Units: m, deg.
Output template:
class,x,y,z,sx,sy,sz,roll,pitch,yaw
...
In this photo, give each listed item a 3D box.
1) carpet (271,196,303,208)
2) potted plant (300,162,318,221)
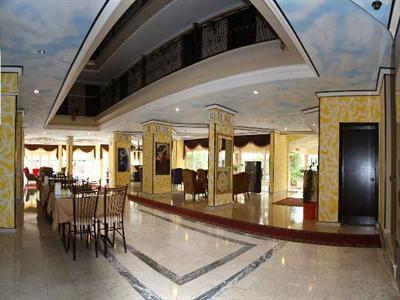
class,x,y,z,sx,sy,sz,roll,pitch,yaw
carpet,3.590,2.089,11.523,1.048,0.146,2.436,2,2,22
potted plant,3.251,1.238,8.411,0.388,1.531,0.833,1,2,22
